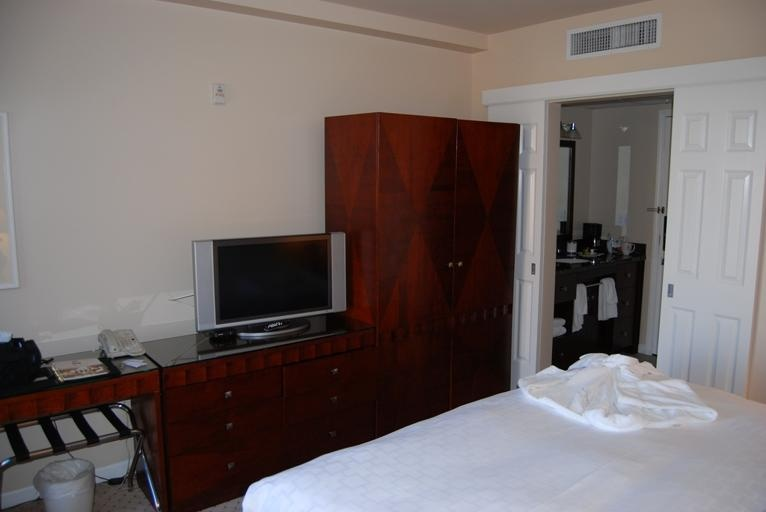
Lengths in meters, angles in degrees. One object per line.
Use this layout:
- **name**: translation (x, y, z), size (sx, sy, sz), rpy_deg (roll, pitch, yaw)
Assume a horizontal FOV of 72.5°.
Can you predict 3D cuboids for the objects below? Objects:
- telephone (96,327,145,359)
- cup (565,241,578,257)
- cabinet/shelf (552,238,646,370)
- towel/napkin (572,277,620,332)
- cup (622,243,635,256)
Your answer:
- **telephone**: translation (-1.769, 0.566, 3.477), size (0.185, 0.126, 0.272), rpy_deg (-6, 26, -41)
- **cup**: translation (2.111, -0.080, 5.822), size (0.136, 0.234, 0.149), rpy_deg (-1, 7, 0)
- **cabinet/shelf**: translation (2.088, 0.552, 5.654), size (1.597, 1.217, 0.549), rpy_deg (-6, 11, -28)
- **towel/napkin**: translation (2.211, 0.474, 5.446), size (0.542, 0.391, 0.111), rpy_deg (-7, 14, -28)
- **cup**: translation (2.808, -0.087, 5.849), size (0.155, 0.160, 0.105), rpy_deg (-1, 3, -14)
